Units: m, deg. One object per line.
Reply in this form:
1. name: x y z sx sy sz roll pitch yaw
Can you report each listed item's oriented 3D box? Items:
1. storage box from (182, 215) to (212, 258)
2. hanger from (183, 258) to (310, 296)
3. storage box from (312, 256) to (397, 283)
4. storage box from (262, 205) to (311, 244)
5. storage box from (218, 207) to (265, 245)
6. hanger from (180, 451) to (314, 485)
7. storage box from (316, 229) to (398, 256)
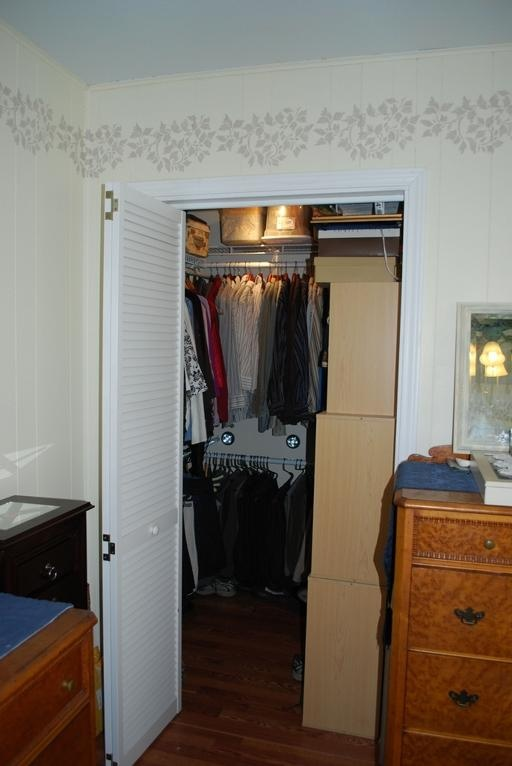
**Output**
1. storage box: -0.302 -0.738 3.024 0.075 0.200 0.322 1 2 5
2. hanger: -0.053 -0.642 3.537 0.719 0.278 0.603 1 2 -8
3. storage box: 0.389 -0.454 2.404 0.306 0.098 0.064 2 2 7
4. storage box: 0.156 -0.806 3.065 0.244 0.177 0.156 2 2 13
5. storage box: -0.084 -0.826 3.185 0.188 0.210 0.203 2 5 11
6. hanger: -0.012 0.535 3.750 0.650 0.167 0.327 2 2 -2
7. storage box: 0.419 -0.575 2.467 0.337 0.115 0.066 2 2 13
